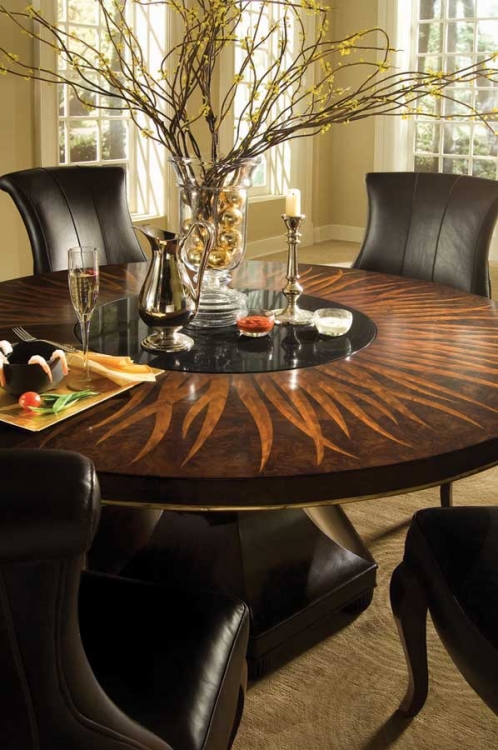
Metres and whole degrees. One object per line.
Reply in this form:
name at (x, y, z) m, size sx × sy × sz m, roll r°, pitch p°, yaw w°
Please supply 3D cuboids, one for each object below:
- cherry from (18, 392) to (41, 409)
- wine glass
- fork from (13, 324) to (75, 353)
cherry at (-0.341, 0.041, 0.886) m, size 0.027 × 0.027 × 0.027 m, roll -4°, pitch 44°, yaw -1°
wine glass at (-0.299, -0.103, 1.102) m, size 0.093 × 0.268 × 0.098 m, roll -4°, pitch 20°, yaw -18°
fork at (-0.436, -0.075, 1.195) m, size 0.158 × 0.019 × 0.024 m, roll 22°, pitch 47°, yaw 23°
